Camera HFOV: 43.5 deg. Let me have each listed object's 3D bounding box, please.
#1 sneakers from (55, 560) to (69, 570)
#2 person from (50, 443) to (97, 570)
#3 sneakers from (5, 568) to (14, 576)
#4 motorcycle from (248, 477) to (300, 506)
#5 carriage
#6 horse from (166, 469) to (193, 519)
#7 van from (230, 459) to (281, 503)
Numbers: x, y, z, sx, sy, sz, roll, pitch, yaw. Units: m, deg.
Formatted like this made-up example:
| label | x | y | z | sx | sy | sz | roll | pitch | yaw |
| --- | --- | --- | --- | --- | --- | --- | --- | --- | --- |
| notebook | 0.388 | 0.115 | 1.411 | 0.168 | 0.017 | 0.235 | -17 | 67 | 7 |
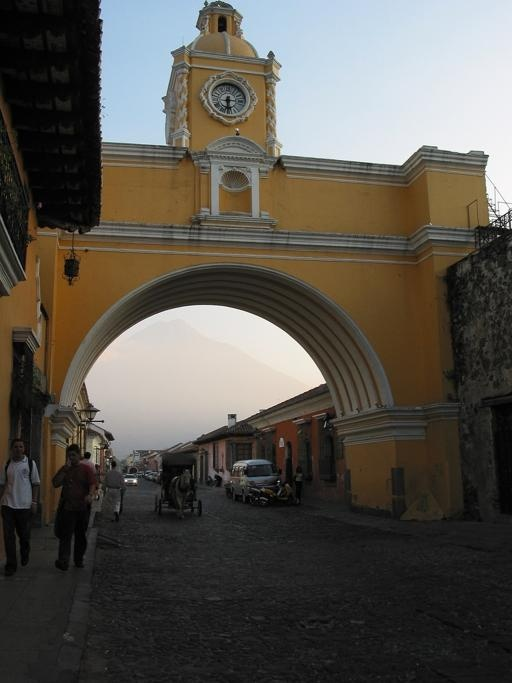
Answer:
| label | x | y | z | sx | sy | sz | roll | pitch | yaw |
| --- | --- | --- | --- | --- | --- | --- | --- | --- | --- |
| sneakers | -2.061 | 2.358 | 6.815 | 0.080 | 0.153 | 0.138 | 4 | -11 | -30 |
| person | -2.026 | 1.822 | 7.093 | 0.449 | 1.359 | 0.720 | 3 | -10 | -15 |
| sneakers | -2.445 | 2.272 | 6.335 | 0.077 | 0.070 | 0.154 | 4 | -12 | -21 |
| motorcycle | 0.557 | 4.787 | 20.524 | 1.418 | 0.967 | 0.695 | -5 | -12 | 2 |
| carriage | -2.159 | 3.885 | 17.734 | 0.987 | 1.883 | 3.114 | 2 | -19 | -10 |
| horse | -1.892 | 3.831 | 16.372 | 0.581 | 1.141 | 1.292 | 1 | -11 | -5 |
| van | 0.051 | 4.778 | 22.067 | 0.923 | 1.180 | 2.284 | 1 | -16 | -15 |
